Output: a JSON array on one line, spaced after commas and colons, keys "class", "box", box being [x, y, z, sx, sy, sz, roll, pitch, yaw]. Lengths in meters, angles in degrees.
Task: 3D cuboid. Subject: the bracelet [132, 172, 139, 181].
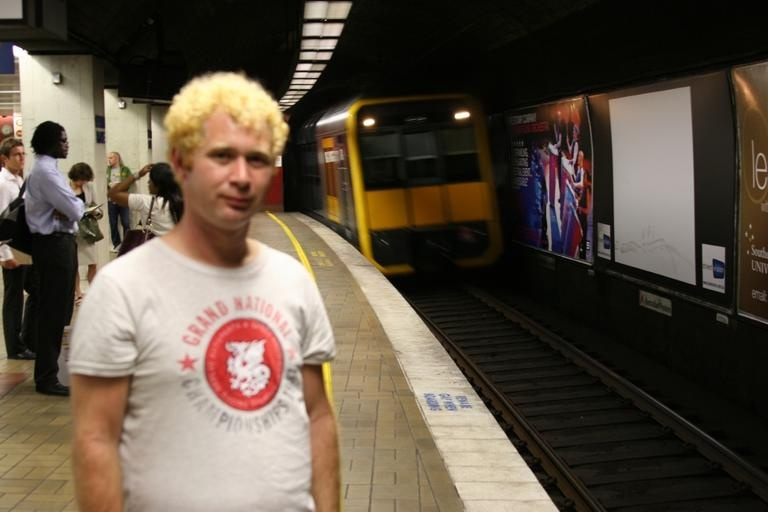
[{"class": "bracelet", "box": [-2.904, -0.922, 5.995, 0.073, 0.083, 0.105, -4, 4, -11]}]

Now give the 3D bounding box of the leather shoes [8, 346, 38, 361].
[{"class": "leather shoes", "box": [-4.456, 1.187, 6.409, 0.430, 0.190, 0.161, -1, -2, -10]}]
